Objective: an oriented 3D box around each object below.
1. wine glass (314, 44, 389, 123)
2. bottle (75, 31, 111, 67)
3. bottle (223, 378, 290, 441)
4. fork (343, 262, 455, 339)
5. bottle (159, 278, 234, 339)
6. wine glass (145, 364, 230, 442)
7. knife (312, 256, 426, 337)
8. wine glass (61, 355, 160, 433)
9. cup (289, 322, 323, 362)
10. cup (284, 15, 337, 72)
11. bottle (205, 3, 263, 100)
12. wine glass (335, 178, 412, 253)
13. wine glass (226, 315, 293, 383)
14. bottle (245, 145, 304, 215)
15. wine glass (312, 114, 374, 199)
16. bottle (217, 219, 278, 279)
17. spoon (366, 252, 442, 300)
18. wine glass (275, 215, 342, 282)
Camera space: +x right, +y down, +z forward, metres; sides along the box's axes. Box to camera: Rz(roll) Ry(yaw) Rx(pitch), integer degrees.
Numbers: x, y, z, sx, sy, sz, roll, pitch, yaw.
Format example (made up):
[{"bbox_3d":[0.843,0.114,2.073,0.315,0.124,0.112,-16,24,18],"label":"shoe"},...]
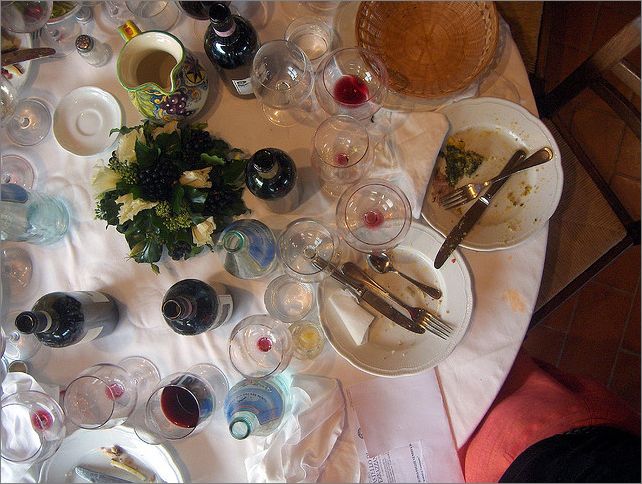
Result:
[{"bbox_3d":[0.094,-0.495,1.564,0.230,0.113,0.211,7,-74,-1],"label":"wine glass"},{"bbox_3d":[-0.767,-0.646,1.701,0.065,0.094,0.073,27,-85,-5],"label":"bottle"},{"bbox_3d":[-0.188,0.509,1.531,0.136,0.392,0.183,-1,-108,-10],"label":"bottle"},{"bbox_3d":[0.252,0.192,1.602,0.345,0.026,0.049,41,-84,16],"label":"fork"},{"bbox_3d":[-0.370,0.203,1.554,0.131,0.387,0.172,-3,-87,-2],"label":"bottle"},{"bbox_3d":[-0.419,0.505,1.590,0.229,0.176,0.194,18,-73,-4],"label":"wine glass"},{"bbox_3d":[0.161,0.175,1.597,0.342,0.025,0.049,44,-85,0],"label":"knife"},{"bbox_3d":[-0.654,0.488,1.597,0.120,0.210,0.157,18,-84,-3],"label":"wine glass"},{"bbox_3d":[-0.046,0.319,1.634,0.091,0.100,0.125,0,-90,3],"label":"cup"},{"bbox_3d":[-0.029,-0.673,1.698,0.134,0.102,0.188,-1,-85,1],"label":"cup"},{"bbox_3d":[-0.273,-0.572,1.555,0.127,0.338,0.142,32,-94,2],"label":"bottle"},{"bbox_3d":[0.161,-0.087,1.548,0.227,0.131,0.211,-31,-77,10],"label":"wine glass"},{"bbox_3d":[-0.178,0.325,1.535,0.151,0.145,0.191,-15,-90,1],"label":"wine glass"},{"bbox_3d":[-0.145,-0.177,1.545,0.160,0.236,0.238,-5,-73,3],"label":"bottle"},{"bbox_3d":[0.066,-0.257,1.646,0.184,0.286,0.220,-24,-92,4],"label":"wine glass"},{"bbox_3d":[-0.224,0.022,1.546,0.087,0.246,0.115,11,-106,-3],"label":"bottle"},{"bbox_3d":[0.274,0.107,1.613,0.205,0.032,0.049,35,-86,-6],"label":"spoon"},{"bbox_3d":[-0.036,0.021,1.542,0.192,0.131,0.160,25,-74,-6],"label":"wine glass"}]
